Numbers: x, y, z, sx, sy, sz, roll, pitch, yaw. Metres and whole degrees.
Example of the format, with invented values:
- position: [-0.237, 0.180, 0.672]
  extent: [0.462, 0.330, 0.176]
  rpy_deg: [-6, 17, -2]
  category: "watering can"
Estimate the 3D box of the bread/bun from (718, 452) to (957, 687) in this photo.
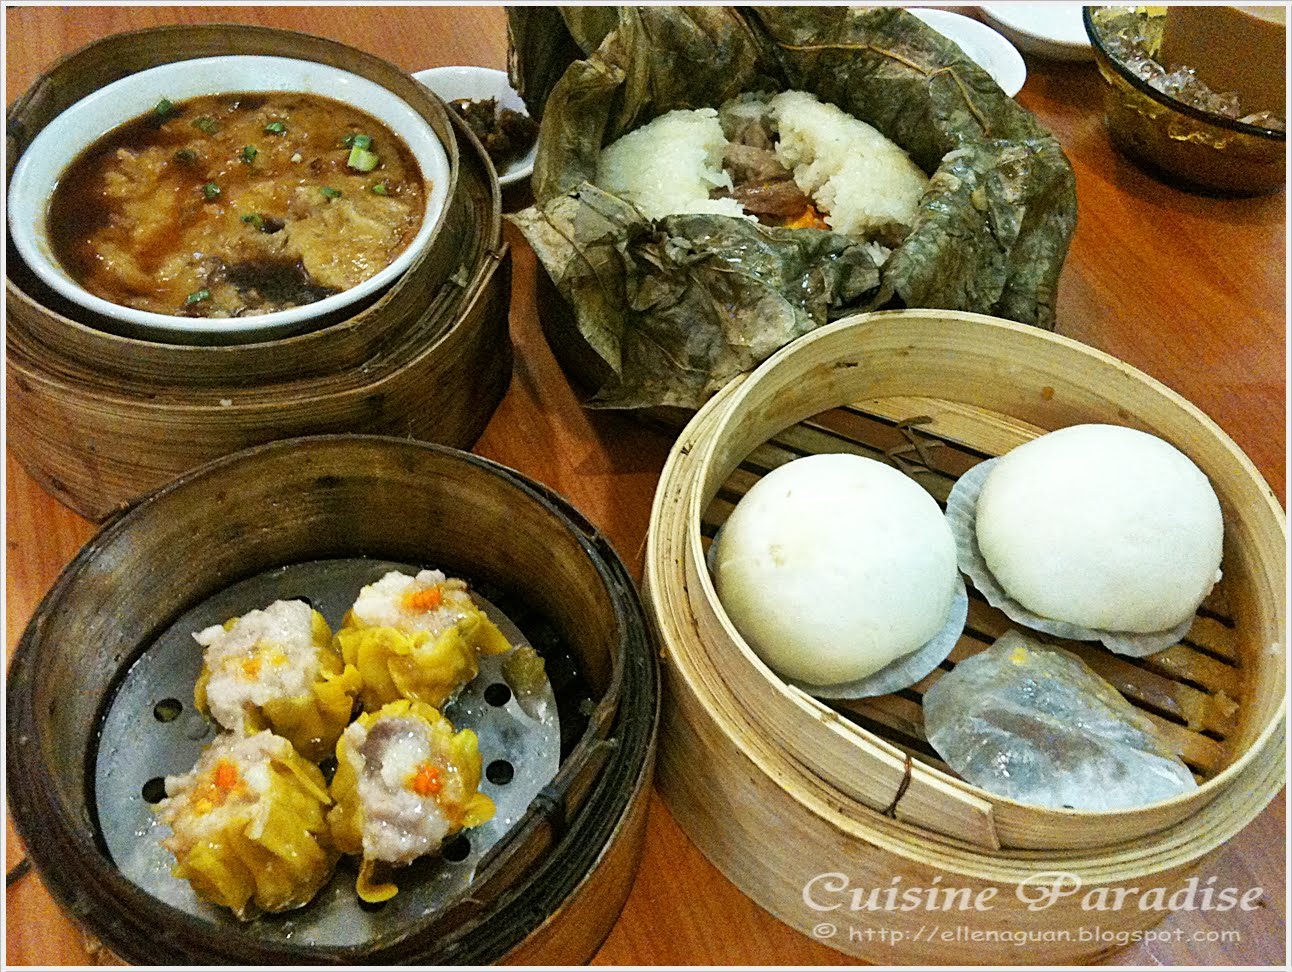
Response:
- position: [0.338, 0.087, 2.033]
  extent: [0.486, 0.348, 0.442]
  rpy_deg: [10, 25, 20]
  category: "bread/bun"
